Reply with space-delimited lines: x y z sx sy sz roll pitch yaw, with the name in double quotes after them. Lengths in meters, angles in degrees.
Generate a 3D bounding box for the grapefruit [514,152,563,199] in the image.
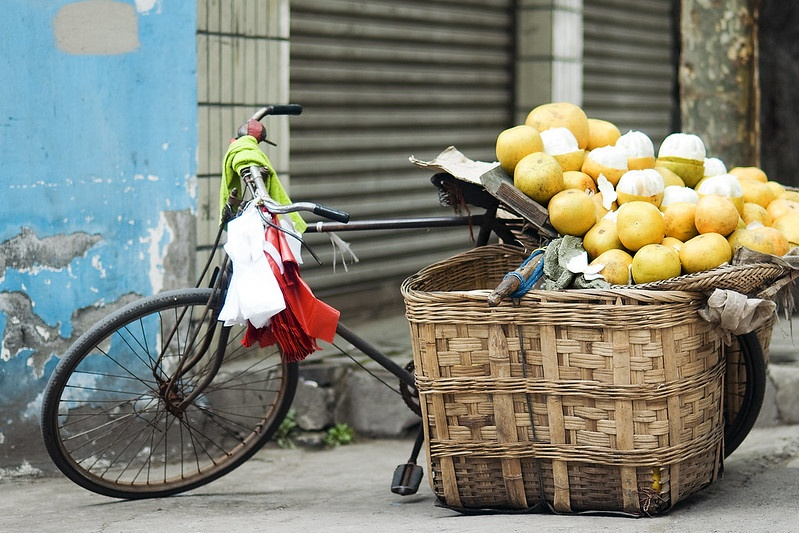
0.747 -0.482 6.666 0.253 0.237 0.247 2 0 1 "grapefruit"

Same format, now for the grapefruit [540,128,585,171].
0.914 -0.653 6.941 0.241 0.221 0.235 -12 3 -2 "grapefruit"

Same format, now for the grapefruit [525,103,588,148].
0.916 -0.816 7.051 0.285 0.263 0.290 -18 15 26 "grapefruit"

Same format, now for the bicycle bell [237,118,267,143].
-0.841 -0.778 7.037 0.178 0.135 0.152 -6 11 -22 "bicycle bell"

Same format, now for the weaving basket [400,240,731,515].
0.973 0.718 6.896 1.514 1.029 1.217 -2 -4 21 "weaving basket"

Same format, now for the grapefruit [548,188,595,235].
0.956 -0.306 6.680 0.235 0.225 0.248 -3 7 19 "grapefruit"

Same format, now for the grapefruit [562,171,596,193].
0.978 -0.460 6.730 0.128 0.125 0.131 1 -13 25 "grapefruit"
